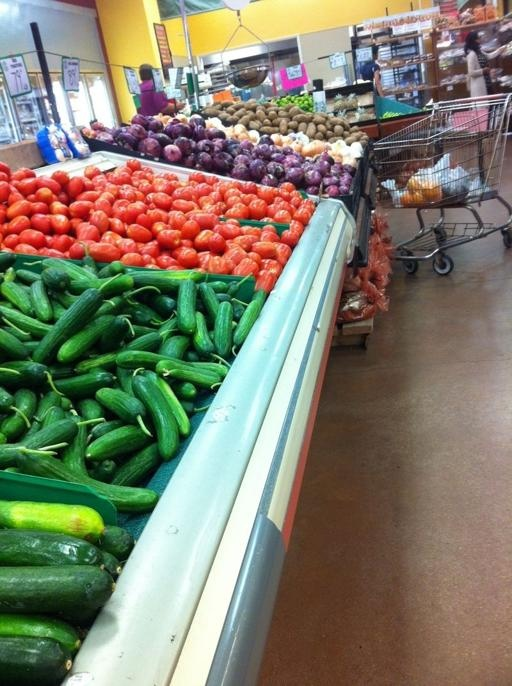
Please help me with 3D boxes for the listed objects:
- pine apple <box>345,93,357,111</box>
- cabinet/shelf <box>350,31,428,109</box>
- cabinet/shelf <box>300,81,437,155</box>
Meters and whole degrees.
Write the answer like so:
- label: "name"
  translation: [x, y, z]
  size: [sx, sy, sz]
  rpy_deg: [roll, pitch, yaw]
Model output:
- label: "pine apple"
  translation: [1.668, -4.169, 7.850]
  size: [0.201, 0.226, 0.133]
  rpy_deg: [-1, -8, -4]
- label: "cabinet/shelf"
  translation: [3.108, -5.898, 10.569]
  size: [0.803, 2.212, 1.354]
  rpy_deg: [-12, 8, -2]
- label: "cabinet/shelf"
  translation: [1.791, -3.971, 7.889]
  size: [2.745, 0.778, 1.845]
  rpy_deg: [2, 49, 17]
